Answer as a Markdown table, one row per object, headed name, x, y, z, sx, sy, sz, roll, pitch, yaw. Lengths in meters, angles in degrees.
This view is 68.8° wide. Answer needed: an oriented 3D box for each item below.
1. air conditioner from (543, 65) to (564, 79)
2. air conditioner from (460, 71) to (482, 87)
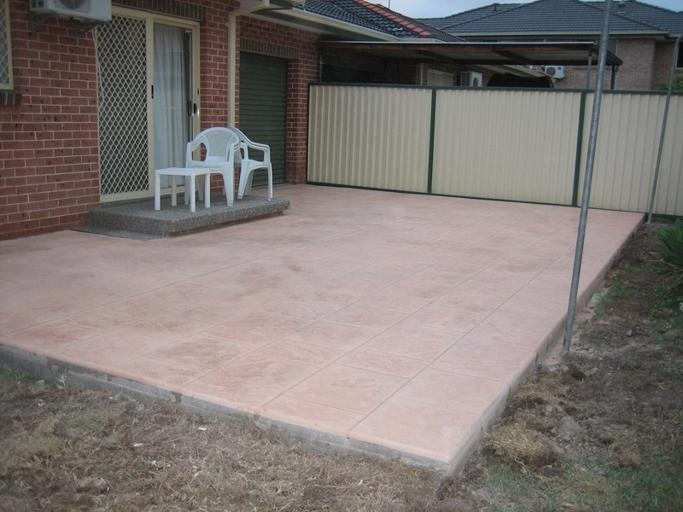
| name | x | y | z | sx | sy | sz | roll | pitch | yaw |
| --- | --- | --- | --- | --- | --- | --- | --- | --- | --- |
| air conditioner | 11.479 | -9.690 | 26.630 | 1.529 | 0.642 | 0.457 | -11 | 20 | -39 |
| air conditioner | 5.096 | -6.852 | 19.359 | 0.274 | 0.610 | 2.674 | 10 | 17 | 26 |
